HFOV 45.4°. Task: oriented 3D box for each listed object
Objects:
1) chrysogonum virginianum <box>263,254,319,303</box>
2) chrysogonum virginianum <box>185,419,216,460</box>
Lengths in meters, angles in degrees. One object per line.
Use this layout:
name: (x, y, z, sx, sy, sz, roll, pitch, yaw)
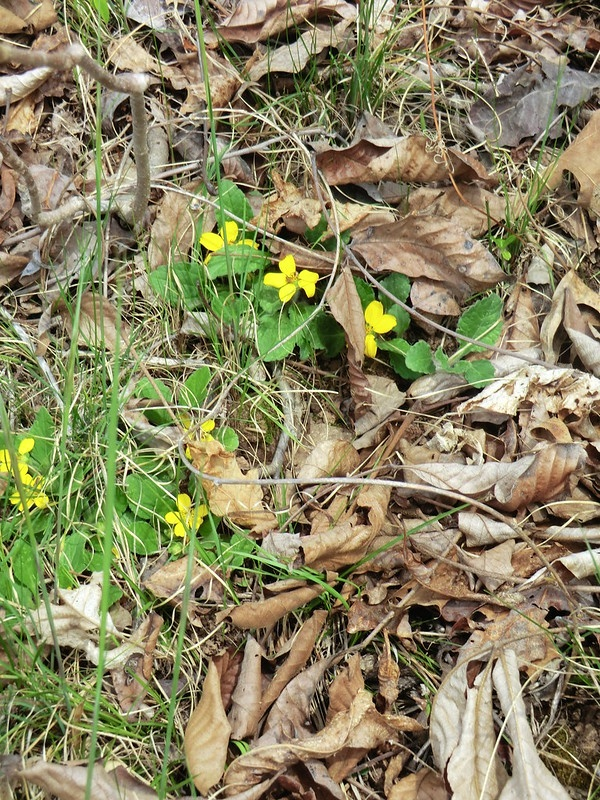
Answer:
chrysogonum virginianum: (-0.025, -0.333, 1.997, 0.140, 0.051, 0.141, -44, 93, 6)
chrysogonum virginianum: (-0.275, 0.102, 1.979, 0.075, 0.028, 0.117, -7, 70, 27)
